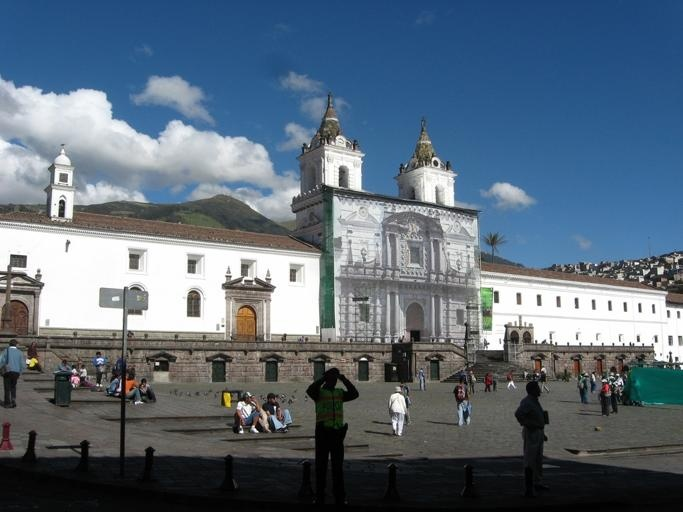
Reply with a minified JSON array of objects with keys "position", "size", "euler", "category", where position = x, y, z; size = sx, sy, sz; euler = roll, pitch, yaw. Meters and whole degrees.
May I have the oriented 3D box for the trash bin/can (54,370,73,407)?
[{"position":[-10.182,4.807,35.119],"size":[0.569,1.271,0.550],"euler":[4,-9,-18],"category":"trash bin/can"}]
